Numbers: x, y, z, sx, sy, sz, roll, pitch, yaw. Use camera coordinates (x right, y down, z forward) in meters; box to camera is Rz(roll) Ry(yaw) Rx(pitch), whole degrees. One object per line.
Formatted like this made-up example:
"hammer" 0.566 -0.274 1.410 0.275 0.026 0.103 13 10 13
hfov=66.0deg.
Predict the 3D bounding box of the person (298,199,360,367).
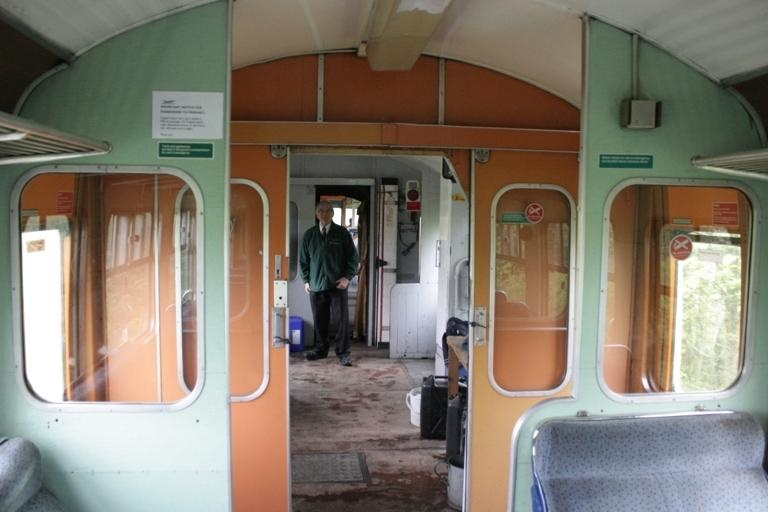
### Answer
"person" -0.857 0.428 8.974 0.839 2.531 0.663 0 7 -10

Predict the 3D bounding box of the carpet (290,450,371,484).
"carpet" -0.564 2.162 6.069 0.792 0.040 0.575 1 8 -4

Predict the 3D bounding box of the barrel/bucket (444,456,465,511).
"barrel/bucket" 0.654 2.119 5.485 0.138 0.399 0.322 2 7 4

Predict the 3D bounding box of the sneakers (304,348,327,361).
"sneakers" -1.100 1.552 9.440 0.355 0.183 0.152 6 2 -14
